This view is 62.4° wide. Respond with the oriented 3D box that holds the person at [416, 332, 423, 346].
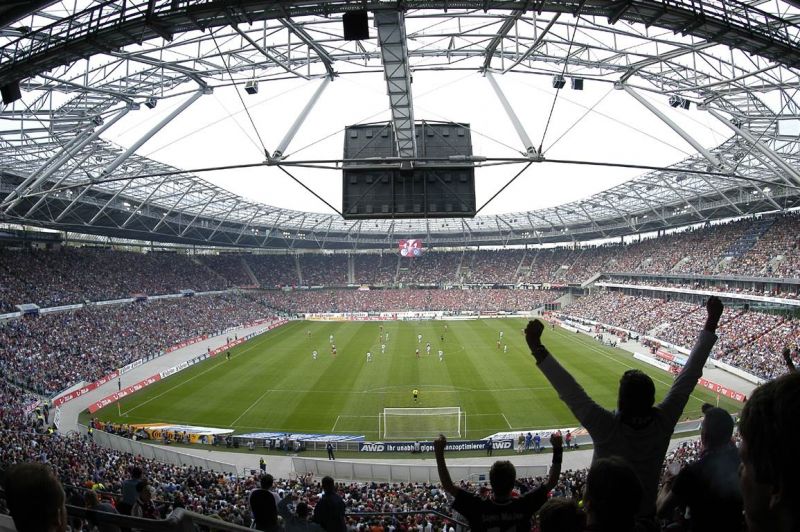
[{"bbox_3d":[1.895,7.488,67.840,0.822,0.878,1.480,-1,-4,-1],"label":"person"}]
